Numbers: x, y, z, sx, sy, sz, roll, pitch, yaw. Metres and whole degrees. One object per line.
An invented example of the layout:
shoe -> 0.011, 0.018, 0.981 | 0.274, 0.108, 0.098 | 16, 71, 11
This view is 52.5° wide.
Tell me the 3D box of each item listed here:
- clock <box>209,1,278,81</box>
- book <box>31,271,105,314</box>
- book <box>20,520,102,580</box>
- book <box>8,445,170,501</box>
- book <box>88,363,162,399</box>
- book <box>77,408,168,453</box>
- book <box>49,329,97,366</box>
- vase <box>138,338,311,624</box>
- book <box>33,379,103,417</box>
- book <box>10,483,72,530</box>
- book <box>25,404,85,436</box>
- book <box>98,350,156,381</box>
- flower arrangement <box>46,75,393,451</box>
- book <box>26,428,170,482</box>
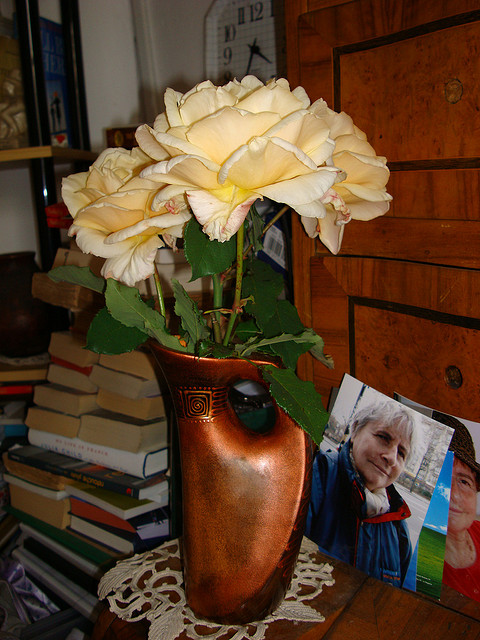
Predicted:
clock -> 0.006, -0.790, 1.376 | 0.022, 0.241, 0.279 | -8, 16, -43
book -> -0.420, -0.065, 1.137 | 0.046, 0.089, 0.203 | 31, 28, 33
book -> -0.380, 0.475, 1.013 | 0.096, 0.021, 0.090 | 25, -7, 15
book -> -0.298, 0.297, 0.950 | 0.193, 0.019, 0.114 | 14, 1, 17
book -> -0.222, 0.104, 0.941 | 0.080, 0.022, 0.079 | 14, 3, 39
book -> -0.224, 0.210, 0.931 | 0.093, 0.020, 0.089 | 8, 6, 10
book -> -0.335, 0.055, 0.972 | 0.109, 0.030, 0.106 | 4, 16, -43
vase -> -0.002, 0.155, 0.488 | 0.167, 0.262, 0.095 | -2, 4, 32
book -> -0.370, 0.154, 1.031 | 0.086, 0.019, 0.084 | 10, 5, 18
book -> -0.426, 0.395, 1.047 | 0.099, 0.022, 0.097 | 13, -7, 32
book -> -0.394, 0.211, 1.031 | 0.084, 0.018, 0.082 | 13, -1, 23
book -> -0.210, 0.070, 0.908 | 0.080, 0.018, 0.081 | 16, 9, 40
flower arrangement -> 0.003, -0.015, 0.371 | 0.253, 0.242, 0.212 | 7, -16, -17
book -> -0.268, 0.262, 0.950 | 0.145, 0.027, 0.146 | 9, 6, 39
